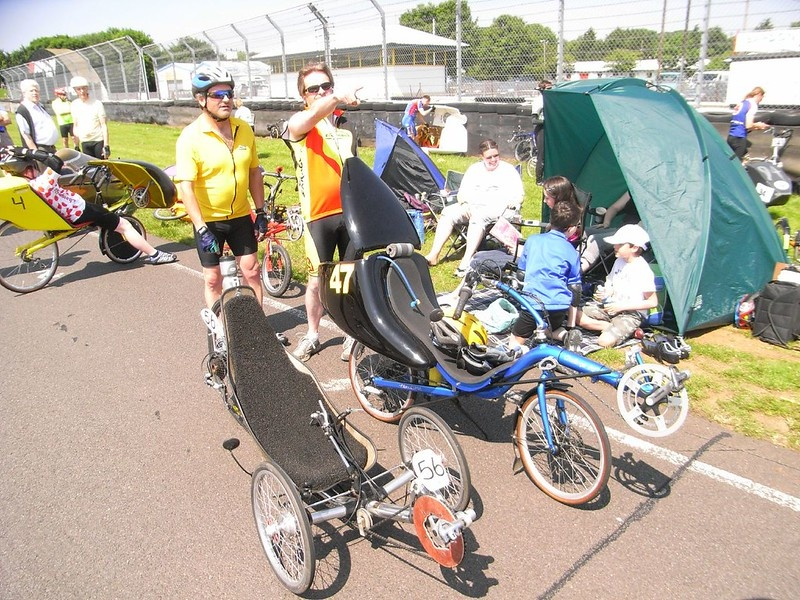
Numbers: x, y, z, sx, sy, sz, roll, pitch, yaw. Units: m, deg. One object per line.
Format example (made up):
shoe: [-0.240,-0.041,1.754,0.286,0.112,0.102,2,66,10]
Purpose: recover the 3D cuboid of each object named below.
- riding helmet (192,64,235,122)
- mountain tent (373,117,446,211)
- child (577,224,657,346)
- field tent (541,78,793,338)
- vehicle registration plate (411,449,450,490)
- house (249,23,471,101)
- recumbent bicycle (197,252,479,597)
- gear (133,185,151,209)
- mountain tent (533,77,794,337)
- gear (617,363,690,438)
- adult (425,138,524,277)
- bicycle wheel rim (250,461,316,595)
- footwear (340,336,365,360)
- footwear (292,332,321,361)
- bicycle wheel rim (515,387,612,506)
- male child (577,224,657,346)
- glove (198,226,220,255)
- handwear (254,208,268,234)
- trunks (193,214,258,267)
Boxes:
riding helmet: [-1.624,-1.860,5.368,0.397,0.496,0.501,-6,10,-26]
mountain tent: [0.519,-2.001,9.680,1.630,1.213,1.409,0,54,8]
child: [2.236,-0.185,6.330,0.846,1.158,0.843,-10,25,-4]
field tent: [3.025,-1.578,7.168,1.818,2.307,3.092,-13,27,-5]
vehicle registration plate: [0.184,1.062,3.672,0.208,0.208,0.178,-6,22,-6]
house: [-1.180,-6.972,17.557,5.732,1.940,3.558,-1,21,5]
recumbent bicycle: [-0.619,0.981,4.124,1.319,0.856,2.385,-17,46,-42]
gear: [-3.831,-1.501,8.898,0.242,0.249,0.244,-24,57,-14]
mountain tent: [2.989,-1.010,6.839,1.892,2.387,3.113,-17,29,-9]
gear: [1.665,0.693,3.994,0.422,0.544,0.358,5,23,20]
adult: [1.019,-1.237,7.841,0.982,1.586,1.468,16,23,39]
bicycle wheel rim: [-0.743,1.480,3.843,0.187,0.650,0.627,-2,28,-34]
footwear: [-0.474,0.474,5.729,0.128,0.171,0.393,6,4,-9]
footwear: [-0.957,0.476,5.973,0.174,0.199,0.423,30,24,15]
bicycle wheel rim: [1.164,1.109,4.363,0.227,0.757,0.748,-17,68,-48]
male child: [2.288,-0.216,6.370,0.749,1.152,0.795,-13,22,-19]
glove: [-1.752,-0.526,5.498,0.145,0.258,0.066,-13,30,1]
handwear: [-1.373,-0.791,6.002,0.076,0.226,0.164,-4,-6,9]
trunks: [-1.730,-0.604,5.931,0.621,0.578,0.346,8,25,-17]
